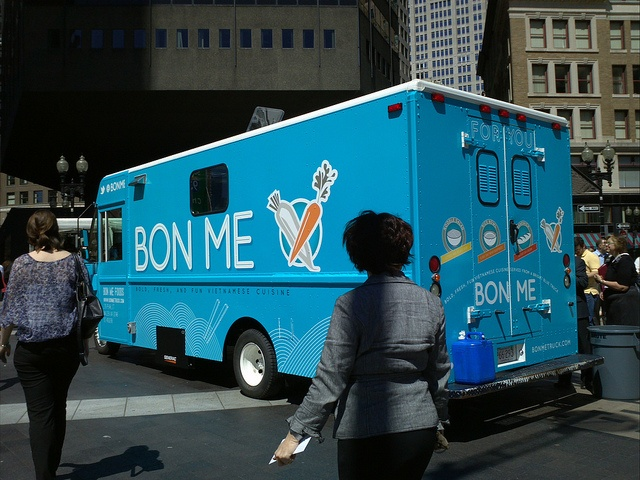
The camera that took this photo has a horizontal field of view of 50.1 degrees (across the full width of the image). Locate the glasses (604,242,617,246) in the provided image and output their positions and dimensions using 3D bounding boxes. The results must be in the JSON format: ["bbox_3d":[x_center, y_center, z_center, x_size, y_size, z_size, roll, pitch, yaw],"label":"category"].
[{"bbox_3d":[5.389,0.070,12.658,0.142,0.051,0.144,-6,-10,41],"label":"glasses"}]

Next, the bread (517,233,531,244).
[{"bbox_3d":[2.760,-0.021,9.194,0.318,0.123,0.035,-17,18,-33],"label":"bread"}]

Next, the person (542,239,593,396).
[{"bbox_3d":[4.228,1.182,10.754,0.629,2.138,0.772,7,1,-12],"label":"person"}]

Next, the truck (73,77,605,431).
[{"bbox_3d":[-0.906,0.402,12.297,3.958,4.457,9.960,1,-2,-44],"label":"truck"}]
